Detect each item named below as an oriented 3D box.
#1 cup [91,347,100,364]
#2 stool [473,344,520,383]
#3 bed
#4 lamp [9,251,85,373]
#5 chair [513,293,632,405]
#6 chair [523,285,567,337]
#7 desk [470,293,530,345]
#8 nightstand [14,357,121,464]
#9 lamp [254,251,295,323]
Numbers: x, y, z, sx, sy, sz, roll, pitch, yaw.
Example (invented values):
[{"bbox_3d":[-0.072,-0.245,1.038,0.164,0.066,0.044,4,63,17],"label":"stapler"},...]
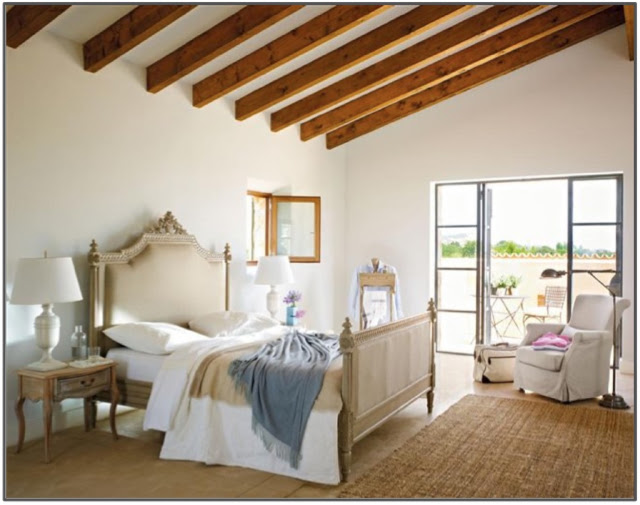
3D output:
[{"bbox_3d":[-1.919,0.873,4.143,0.080,0.133,0.131,1,-6,-10],"label":"cup"},{"bbox_3d":[2.114,1.352,5.884,0.466,0.428,0.226,2,5,18],"label":"stool"},{"bbox_3d":[-0.525,0.790,4.805,2.752,1.966,2.249,-3,-2,28],"label":"bed"},{"bbox_3d":[-2.248,0.465,3.940,0.464,0.899,0.468,4,6,41],"label":"lamp"},{"bbox_3d":[2.860,1.023,5.507,1.057,1.092,0.802,2,-2,-19],"label":"chair"},{"bbox_3d":[3.496,0.937,7.607,0.655,0.845,0.672,5,2,2],"label":"chair"},{"bbox_3d":[3.144,1.058,7.931,0.620,0.681,0.606,4,-10,-7],"label":"desk"},{"bbox_3d":[-2.072,1.277,4.036,0.421,0.685,0.693,3,1,27],"label":"nightstand"},{"bbox_3d":[-0.547,0.438,5.879,0.662,1.004,0.659,0,-3,1],"label":"lamp"}]
